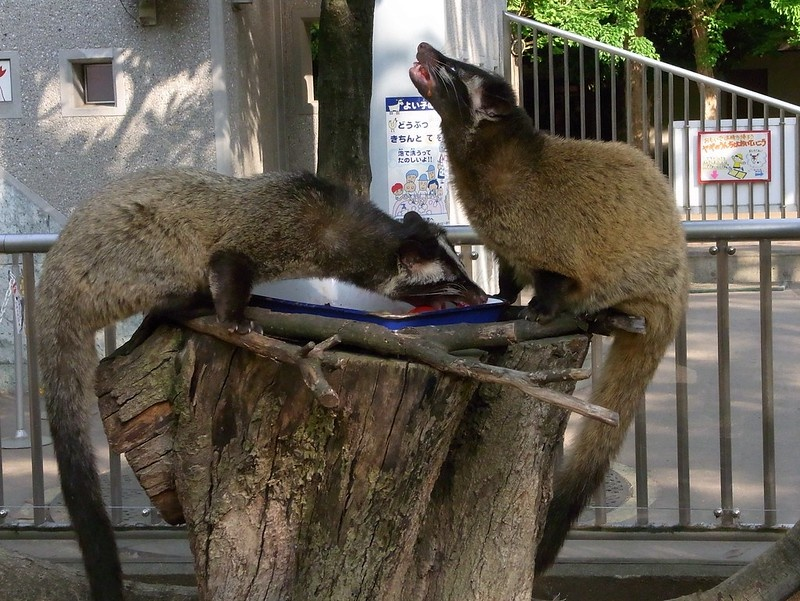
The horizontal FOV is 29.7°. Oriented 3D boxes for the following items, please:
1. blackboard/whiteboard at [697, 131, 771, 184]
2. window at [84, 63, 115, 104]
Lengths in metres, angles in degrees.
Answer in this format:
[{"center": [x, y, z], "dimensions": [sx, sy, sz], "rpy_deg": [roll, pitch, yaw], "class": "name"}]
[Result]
[{"center": [3.429, -1.481, 15.571], "dimensions": [0.725, 0.448, 0.026], "rpy_deg": [1, -1, 12], "class": "blackboard/whiteboard"}, {"center": [-2.861, -2.097, 14.446], "dimensions": [0.418, 0.421, 0.049], "rpy_deg": [2, 7, 13], "class": "window"}]
